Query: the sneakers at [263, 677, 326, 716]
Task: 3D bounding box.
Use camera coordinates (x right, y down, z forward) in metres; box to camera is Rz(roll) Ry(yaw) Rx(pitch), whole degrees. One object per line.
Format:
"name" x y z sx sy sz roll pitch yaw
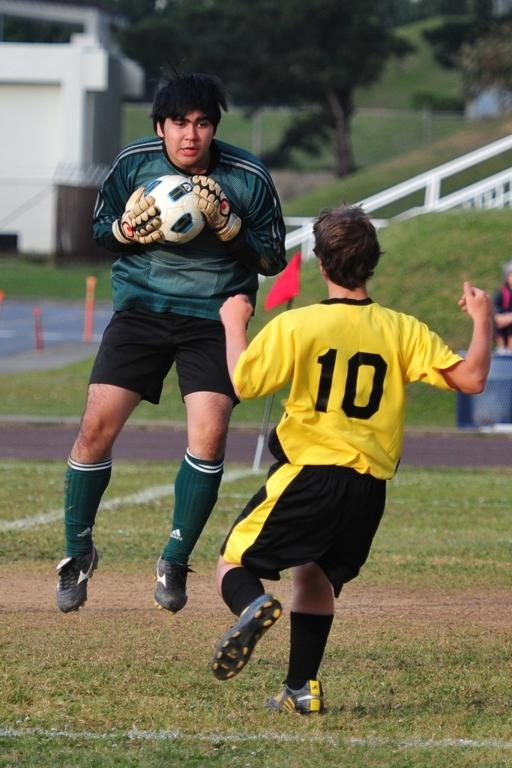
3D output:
"sneakers" 0.145 1.031 3.608 0.227 0.088 0.081 -1 -4 35

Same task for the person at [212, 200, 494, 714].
"person" 0.295 0.259 3.524 0.795 1.648 0.321 0 10 -18

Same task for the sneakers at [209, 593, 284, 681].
"sneakers" -0.035 0.771 3.297 0.191 0.288 0.118 3 10 -2

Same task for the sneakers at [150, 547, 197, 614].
"sneakers" -0.325 0.795 4.343 0.118 0.125 0.255 18 22 -27

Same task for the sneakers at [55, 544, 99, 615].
"sneakers" -0.733 0.807 4.519 0.138 0.275 0.158 11 -3 17

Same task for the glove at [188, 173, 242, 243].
"glove" -0.147 -0.684 4.213 0.116 0.261 0.181 -25 28 41
